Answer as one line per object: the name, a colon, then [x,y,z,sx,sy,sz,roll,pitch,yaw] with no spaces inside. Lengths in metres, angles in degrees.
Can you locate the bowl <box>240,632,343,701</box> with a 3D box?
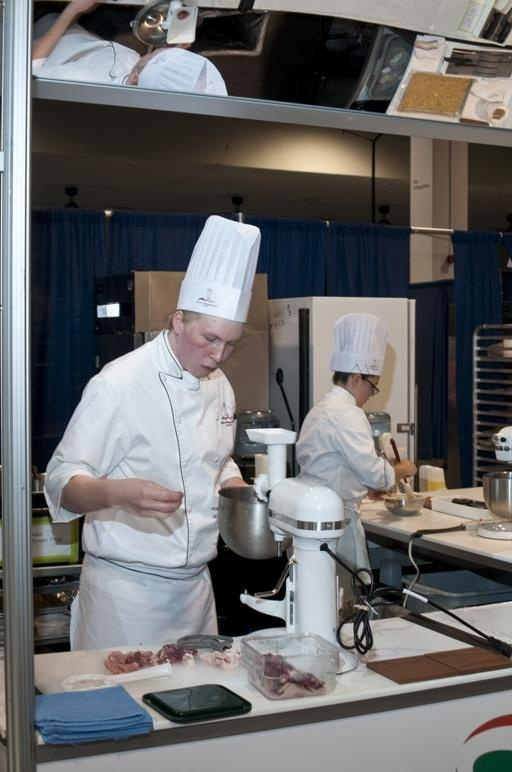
bowl: [0.051,0.407,1.052,0.085,0.044,0.107,1,-7,-14]

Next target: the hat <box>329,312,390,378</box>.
hat: [0.397,-0.169,2.978,0.224,0.260,0.279,1,-10,-5]

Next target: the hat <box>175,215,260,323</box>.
hat: [-0.084,-0.274,1.633,0.176,0.252,0.179,14,24,18]
